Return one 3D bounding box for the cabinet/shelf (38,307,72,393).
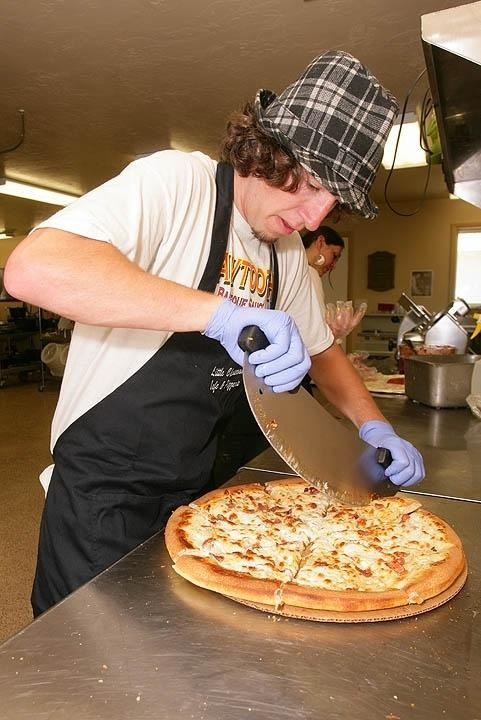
[{"bbox_3d":[-2.566,-0.165,8.013,0.575,1.049,0.613,2,8,-16],"label":"cabinet/shelf"}]

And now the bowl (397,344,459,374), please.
[{"bbox_3d":[0.794,-0.031,2.558,0.198,0.126,0.203,0,-5,0],"label":"bowl"}]

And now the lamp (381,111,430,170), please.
[{"bbox_3d":[1.200,-1.510,4.058,0.361,0.079,0.372,-10,-24,3],"label":"lamp"}]

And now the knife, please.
[{"bbox_3d":[0.131,0.180,1.036,0.059,0.543,0.148,-23,26,38],"label":"knife"}]
